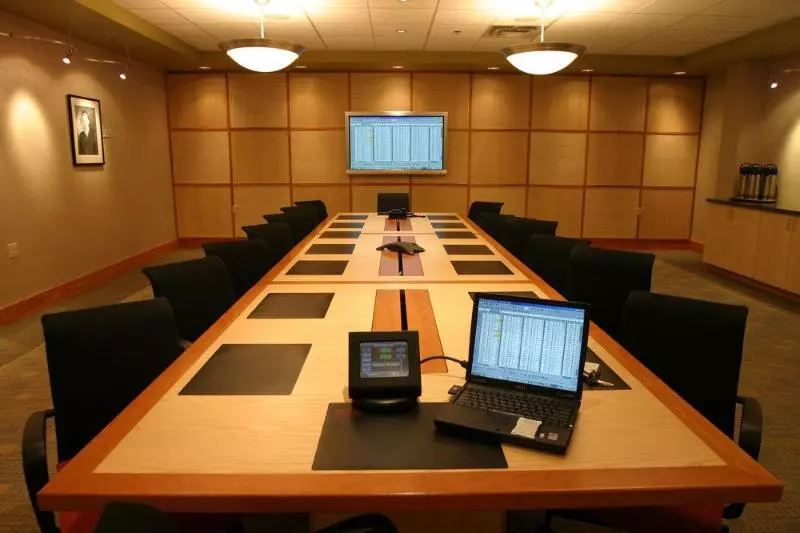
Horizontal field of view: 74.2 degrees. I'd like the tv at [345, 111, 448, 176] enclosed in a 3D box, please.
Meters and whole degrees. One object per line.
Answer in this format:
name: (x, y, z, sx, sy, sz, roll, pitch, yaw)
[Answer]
tv: (-0.078, -2.131, 9.209, 2.203, 1.049, 0.083, 10, 21, 35)
